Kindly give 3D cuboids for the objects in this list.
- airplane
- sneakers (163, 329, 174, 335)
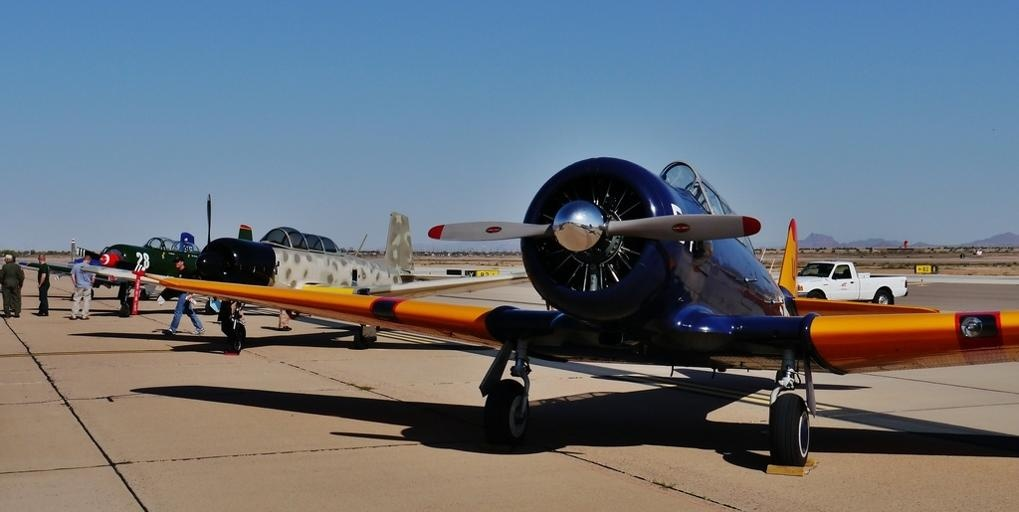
[{"bbox_3d":[2.200,0.710,11.386,11.179,4.641,2.806,4,12,18],"label":"airplane"},{"bbox_3d":[-9.731,2.182,19.831,0.237,0.226,0.670,-2,-3,-39],"label":"sneakers"}]
